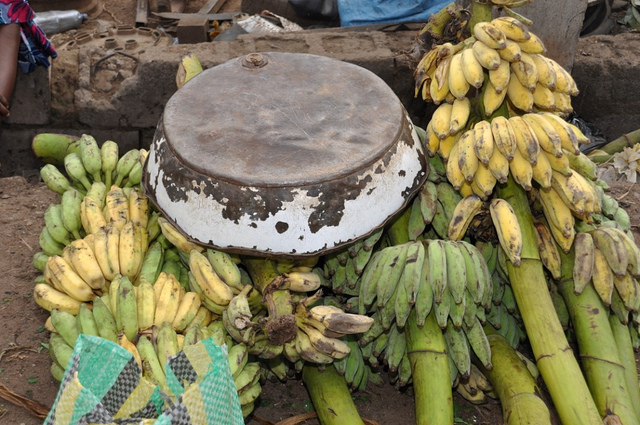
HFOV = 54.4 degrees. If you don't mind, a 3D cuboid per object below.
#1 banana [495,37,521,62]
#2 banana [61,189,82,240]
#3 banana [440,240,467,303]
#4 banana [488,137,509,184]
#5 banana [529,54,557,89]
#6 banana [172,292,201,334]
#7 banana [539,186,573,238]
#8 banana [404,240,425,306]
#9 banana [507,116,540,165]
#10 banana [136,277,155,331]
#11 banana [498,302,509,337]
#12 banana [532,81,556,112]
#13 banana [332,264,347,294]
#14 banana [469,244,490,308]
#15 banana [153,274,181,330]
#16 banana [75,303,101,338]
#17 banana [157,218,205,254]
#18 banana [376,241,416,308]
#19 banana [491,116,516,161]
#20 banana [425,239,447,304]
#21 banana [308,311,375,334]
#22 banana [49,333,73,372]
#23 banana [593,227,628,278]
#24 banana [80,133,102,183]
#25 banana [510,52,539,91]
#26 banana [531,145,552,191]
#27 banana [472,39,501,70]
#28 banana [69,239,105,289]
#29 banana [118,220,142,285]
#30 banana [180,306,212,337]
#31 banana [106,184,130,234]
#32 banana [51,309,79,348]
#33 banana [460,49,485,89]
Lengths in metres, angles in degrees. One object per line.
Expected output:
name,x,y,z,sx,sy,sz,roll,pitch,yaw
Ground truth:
banana,1.205,-1.017,3.927,0.102,0.059,0.182,-21,63,11
banana,-1.722,-0.008,4.344,0.109,0.142,0.407,-5,66,-10
banana,0.825,0.356,3.854,0.088,0.131,0.381,-5,61,-3
banana,1.118,-0.298,3.940,0.087,0.100,0.325,-17,68,0
banana,1.437,-0.901,4.022,0.101,0.074,0.227,-5,56,-26
banana,-0.830,0.616,3.964,0.119,0.093,0.265,13,59,23
banana,1.579,-0.062,4.054,0.107,0.165,0.483,-1,43,-4
banana,0.590,0.352,3.812,0.091,0.102,0.432,-8,54,26
banana,1.317,-0.452,3.964,0.143,0.169,0.486,-13,32,10
banana,-1.071,0.566,3.826,0.085,0.110,0.329,-6,72,-2
banana,1.254,0.745,4.307,0.059,0.079,0.252,-7,72,0
banana,1.451,-0.753,4.041,0.077,0.090,0.266,2,34,-12
banana,0.123,0.439,4.085,0.086,0.040,0.187,1,92,15
banana,1.031,0.407,3.912,0.084,0.118,0.417,-11,90,18
banana,-0.951,0.569,3.926,0.093,0.107,0.324,15,56,1
banana,-1.432,0.675,3.831,0.090,0.084,0.307,2,70,-39
banana,-0.871,0.141,3.928,0.235,0.062,0.084,47,51,-11
banana,0.476,0.367,3.895,0.125,0.135,0.479,-5,25,24
banana,1.149,-0.472,3.923,0.094,0.097,0.300,-5,54,-1
banana,0.719,0.344,3.834,0.092,0.086,0.420,5,67,-7
banana,0.112,0.661,3.725,0.229,0.072,0.093,12,36,5
banana,-1.609,0.843,3.848,0.074,0.121,0.228,-44,41,15
banana,1.853,0.238,3.945,0.129,0.145,0.321,-16,51,-19
banana,-1.719,-0.424,4.725,0.120,0.129,0.435,-21,59,-1
banana,1.302,-0.921,3.947,0.122,0.081,0.264,-22,73,13
banana,1.402,-0.263,3.938,0.080,0.089,0.298,-7,78,9
banana,1.060,-0.993,3.994,0.108,0.102,0.228,-36,69,10
banana,-1.476,0.327,4.036,0.352,0.146,0.115,64,28,-2
banana,-1.227,0.259,4.044,0.108,0.128,0.408,1,66,-10
banana,-0.793,0.684,3.988,0.107,0.060,0.206,-15,29,44
banana,-1.416,-0.016,4.340,0.139,0.154,0.455,-4,48,-29
banana,-1.580,0.708,3.876,0.126,0.078,0.245,-41,79,8
banana,0.974,-0.919,3.966,0.092,0.095,0.296,-6,54,-8
